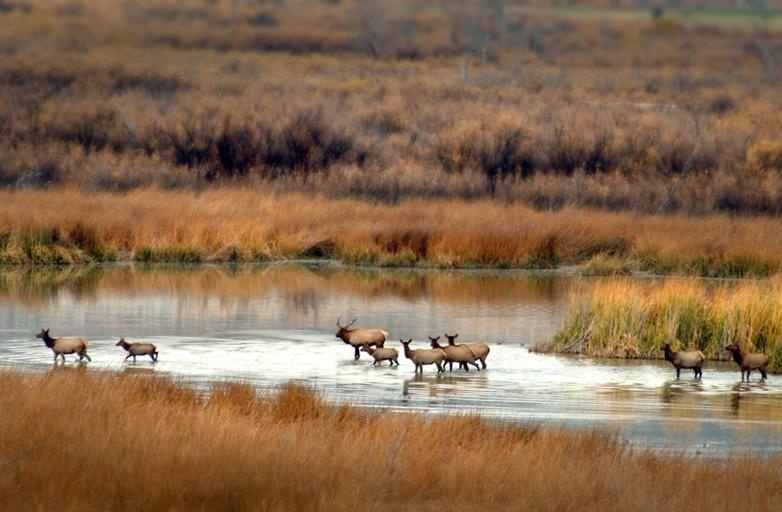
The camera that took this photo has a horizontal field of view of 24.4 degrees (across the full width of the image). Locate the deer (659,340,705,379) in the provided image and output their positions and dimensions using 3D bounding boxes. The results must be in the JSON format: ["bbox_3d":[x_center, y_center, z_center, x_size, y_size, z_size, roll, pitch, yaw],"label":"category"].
[{"bbox_3d":[7.714,2.673,47.605,1.131,0.772,1.013,2,14,8],"label":"deer"}]

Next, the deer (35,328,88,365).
[{"bbox_3d":[-8.547,2.322,47.528,1.388,0.749,0.720,4,14,15],"label":"deer"}]

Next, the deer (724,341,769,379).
[{"bbox_3d":[9.412,2.686,47.537,1.082,0.886,0.919,3,14,12],"label":"deer"}]
